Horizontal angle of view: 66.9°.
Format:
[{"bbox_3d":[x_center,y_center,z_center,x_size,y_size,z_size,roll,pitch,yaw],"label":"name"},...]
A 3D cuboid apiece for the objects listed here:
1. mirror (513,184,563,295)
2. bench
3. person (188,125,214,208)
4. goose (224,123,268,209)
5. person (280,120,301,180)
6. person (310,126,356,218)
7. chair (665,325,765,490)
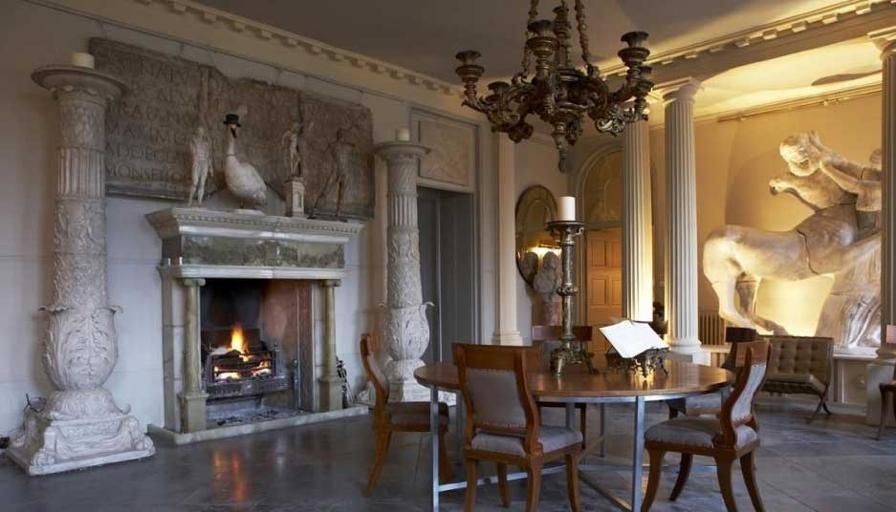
[{"bbox_3d":[1.758,-0.236,13.660,0.137,2.926,2.446,-4,-6,39],"label":"mirror"},{"bbox_3d":[4.803,1.708,9.748,1.563,0.955,0.964,-3,-6,28],"label":"bench"},{"bbox_3d":[-3.575,-1.288,9.852,0.405,1.166,0.320,5,5,-28],"label":"person"},{"bbox_3d":[-3.142,-1.400,10.206,0.556,1.382,0.522,9,14,41],"label":"goose"},{"bbox_3d":[-2.452,-1.713,10.811,0.201,0.846,0.419,8,13,36],"label":"person"},{"bbox_3d":[-1.873,-1.350,11.146,0.332,1.445,0.762,5,12,25],"label":"person"},{"bbox_3d":[3.785,1.709,9.255,1.453,1.814,1.462,-1,-2,32],"label":"chair"}]
